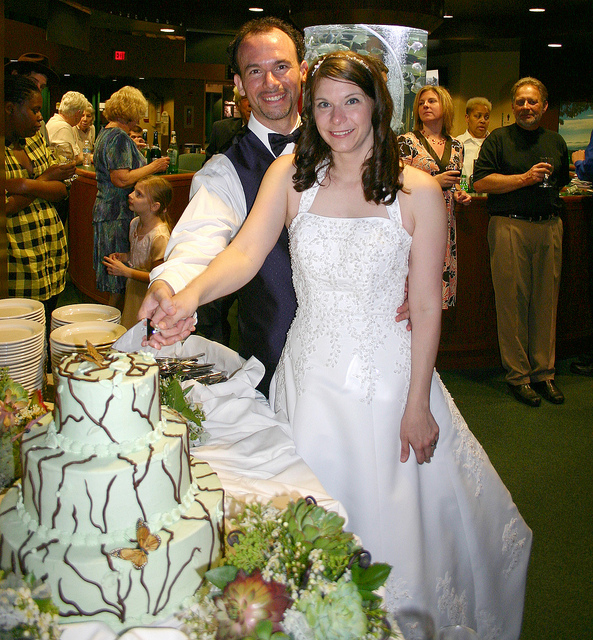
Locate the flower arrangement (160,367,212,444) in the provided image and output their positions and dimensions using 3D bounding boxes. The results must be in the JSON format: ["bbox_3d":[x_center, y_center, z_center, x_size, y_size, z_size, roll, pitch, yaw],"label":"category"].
[{"bbox_3d":[-0.263,0.214,1.367,0.112,0.168,0.120,-12,24,-37],"label":"flower arrangement"}]

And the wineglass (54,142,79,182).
[{"bbox_3d":[-2.645,-1.875,6.284,0.238,0.415,0.243,-6,37,-31],"label":"wineglass"}]

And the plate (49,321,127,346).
[{"bbox_3d":[-0.890,0.058,2.279,0.196,0.027,0.223,1,20,-4],"label":"plate"}]

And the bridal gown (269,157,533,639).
[{"bbox_3d":[0.340,0.310,1.599,0.817,1.495,0.512,-1,14,-7],"label":"bridal gown"}]

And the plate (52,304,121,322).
[{"bbox_3d":[-1.018,-0.036,2.633,0.160,0.022,0.170,-2,24,-24],"label":"plate"}]

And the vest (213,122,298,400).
[{"bbox_3d":[-0.162,-0.207,1.950,0.247,0.928,0.306,-2,16,-15],"label":"vest"}]

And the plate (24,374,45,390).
[{"bbox_3d":[-0.927,0.218,1.922,0.078,0.040,0.092,-1,5,-5],"label":"plate"}]

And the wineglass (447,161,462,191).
[{"bbox_3d":[1.236,-1.145,4.290,0.129,0.265,0.220,-1,17,5],"label":"wineglass"}]

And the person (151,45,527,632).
[{"bbox_3d":[0.254,0.167,1.544,0.990,1.746,0.502,2,14,4],"label":"person"}]

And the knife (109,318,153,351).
[{"bbox_3d":[-0.575,0.052,1.874,0.017,0.130,0.140,47,15,22],"label":"knife"}]

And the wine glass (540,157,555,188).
[{"bbox_3d":[1.879,-1.119,4.106,0.088,0.222,0.335,7,16,25],"label":"wine glass"}]

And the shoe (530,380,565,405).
[{"bbox_3d":[1.996,0.566,4.380,0.105,0.158,0.351,-7,26,-11],"label":"shoe"}]
